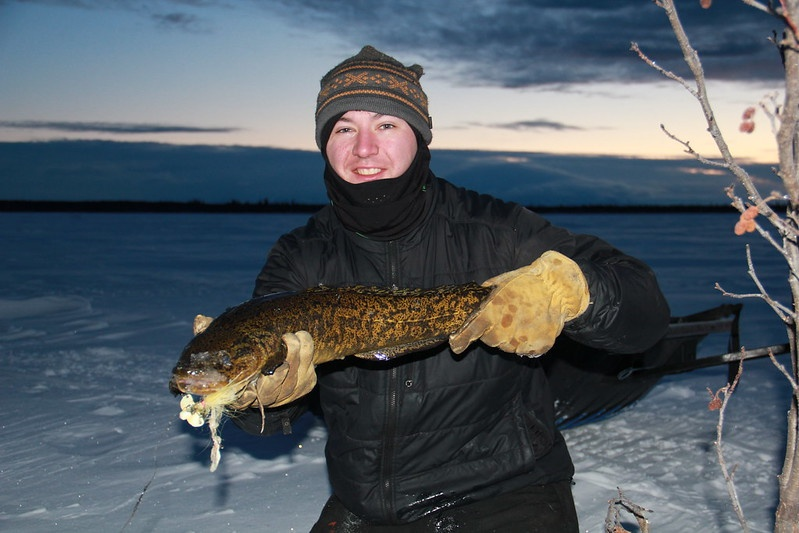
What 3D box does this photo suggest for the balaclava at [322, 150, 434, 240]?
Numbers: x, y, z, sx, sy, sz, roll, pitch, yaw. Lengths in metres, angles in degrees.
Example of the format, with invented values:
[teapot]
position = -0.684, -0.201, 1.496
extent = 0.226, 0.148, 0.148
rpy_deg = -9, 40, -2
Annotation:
[balaclava]
position = -0.409, -0.874, 11.253
extent = 1.471, 1.197, 1.106
rpy_deg = -2, 11, -18
